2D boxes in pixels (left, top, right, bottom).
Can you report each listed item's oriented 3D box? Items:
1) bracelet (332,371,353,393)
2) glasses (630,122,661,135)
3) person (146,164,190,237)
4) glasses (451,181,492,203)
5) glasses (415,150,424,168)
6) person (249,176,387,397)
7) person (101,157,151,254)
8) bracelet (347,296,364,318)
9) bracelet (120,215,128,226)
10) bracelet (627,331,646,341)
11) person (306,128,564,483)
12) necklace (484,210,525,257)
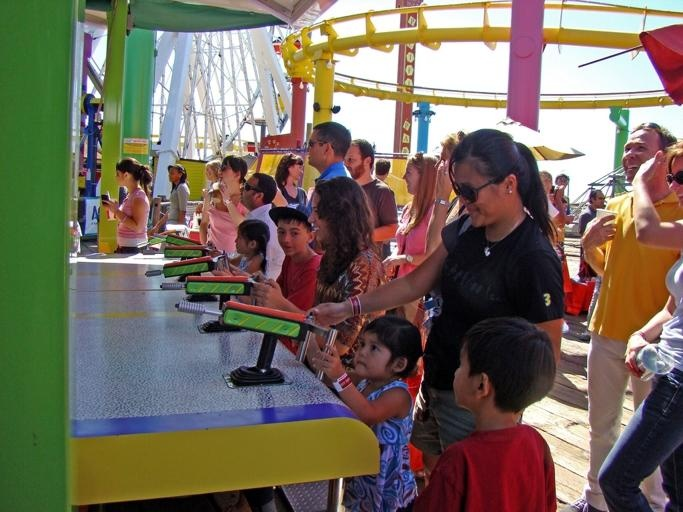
[{"bbox_3d":[-0.006,0.422,1.587,0.069,0.043,0.053,-29,18,25],"label":"bracelet"},{"bbox_3d":[1.501,-0.639,2.334,0.081,0.040,0.138,-2,11,-36],"label":"glasses"},{"bbox_3d":[-2.505,-0.907,6.914,0.448,0.907,2.330,0,10,-19],"label":"person"},{"bbox_3d":[0.426,-0.218,1.594,0.087,0.038,0.069,-26,21,-31],"label":"glasses"},{"bbox_3d":[0.590,-0.730,3.524,0.033,0.108,0.075,17,-37,-22],"label":"glasses"},{"bbox_3d":[-0.146,0.047,2.501,0.760,1.276,0.544,5,-8,-17],"label":"person"},{"bbox_3d":[-2.246,-0.526,4.922,0.451,1.007,1.041,-1,10,-23],"label":"person"},{"bbox_3d":[0.056,0.198,1.868,0.052,0.053,0.067,-3,6,0],"label":"bracelet"},{"bbox_3d":[-2.150,-0.358,4.639,0.074,0.086,0.019,0,-6,9],"label":"bracelet"},{"bbox_3d":[1.237,0.331,1.964,0.033,0.028,0.035,0,0,-21],"label":"bracelet"},{"bbox_3d":[0.413,0.392,1.885,0.605,1.710,0.832,-11,17,-42],"label":"person"},{"bbox_3d":[0.567,-0.087,1.651,0.040,0.179,0.118,14,1,-42],"label":"necklace"}]
